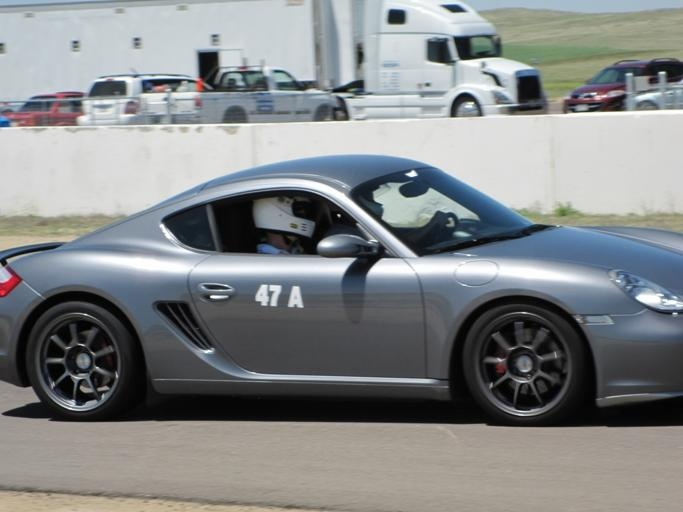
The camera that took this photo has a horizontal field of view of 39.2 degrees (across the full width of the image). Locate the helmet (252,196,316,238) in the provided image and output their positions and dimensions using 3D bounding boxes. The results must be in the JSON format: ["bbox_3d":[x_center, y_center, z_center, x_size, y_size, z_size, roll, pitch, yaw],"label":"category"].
[{"bbox_3d":[-0.437,-0.278,6.673,0.386,0.216,0.250,-3,2,-4],"label":"helmet"}]
